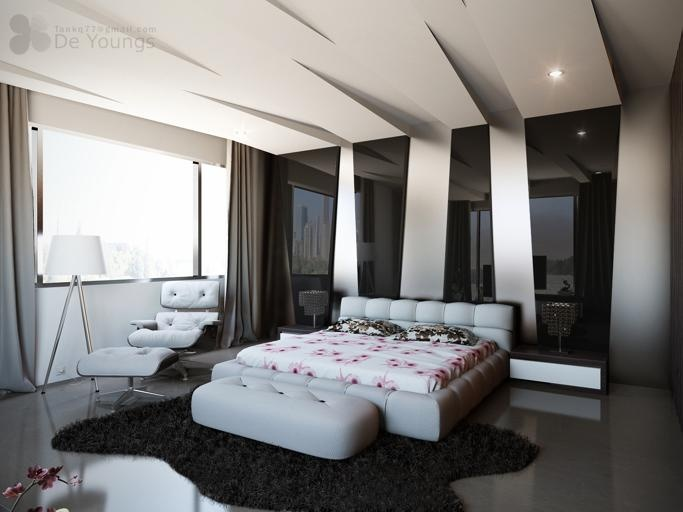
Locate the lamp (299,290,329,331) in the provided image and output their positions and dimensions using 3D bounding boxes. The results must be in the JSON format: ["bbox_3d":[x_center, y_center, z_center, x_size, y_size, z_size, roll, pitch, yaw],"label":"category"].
[{"bbox_3d":[-0.375,0.775,6.767,0.421,0.586,0.147,2,5,22],"label":"lamp"}]

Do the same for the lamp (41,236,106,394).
[{"bbox_3d":[-2.966,0.584,5.291,0.713,1.624,0.616,-5,9,-32],"label":"lamp"}]

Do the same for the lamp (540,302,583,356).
[{"bbox_3d":[2.456,0.809,5.295,0.469,0.813,0.244,-1,-2,37],"label":"lamp"}]

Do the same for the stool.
[{"bbox_3d":[-2.133,1.121,4.891,0.732,0.477,0.542,-1,-3,8],"label":"stool"}]

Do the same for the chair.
[{"bbox_3d":[-2.111,0.898,5.967,1.037,1.355,1.037,-3,-9,13],"label":"chair"}]
